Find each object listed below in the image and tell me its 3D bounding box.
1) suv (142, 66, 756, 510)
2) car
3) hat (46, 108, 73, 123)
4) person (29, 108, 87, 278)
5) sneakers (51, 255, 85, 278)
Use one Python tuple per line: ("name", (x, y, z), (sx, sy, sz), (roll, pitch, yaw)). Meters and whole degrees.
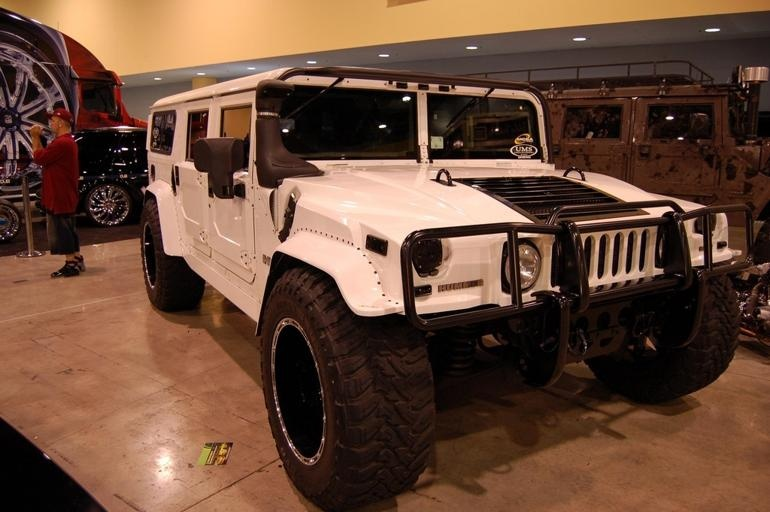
("suv", (-0.261, -0.088, 4.541), (2.713, 2.136, 4.628), (-7, 13, -31))
("car", (-6.103, -1.639, 10.703), (3.528, 1.967, 2.027), (0, 4, -21))
("hat", (-4.630, -2.005, 7.096), (0.265, 0.200, 0.334), (-8, 14, -29))
("person", (-4.717, -0.929, 7.264), (0.535, 2.372, 0.687), (-9, 14, -33))
("sneakers", (-4.600, 0.172, 7.387), (0.195, 0.243, 0.562), (3, 2, 36))
